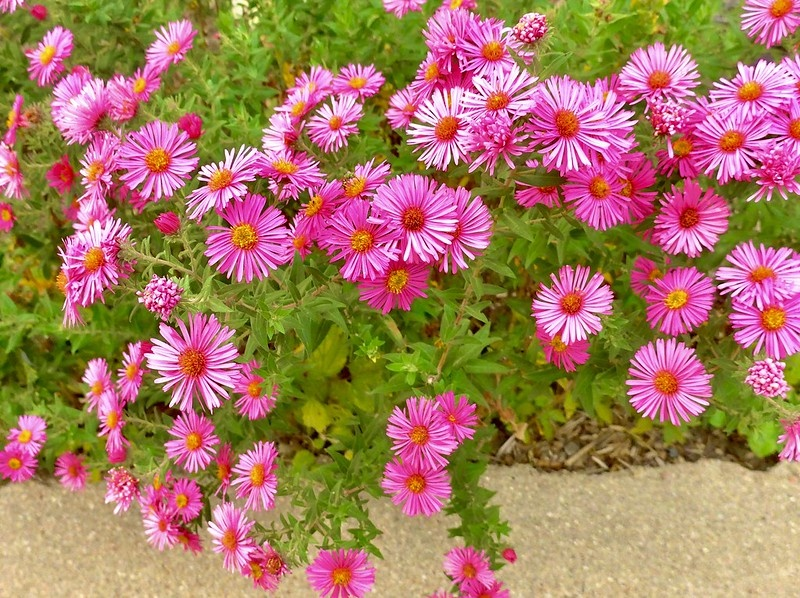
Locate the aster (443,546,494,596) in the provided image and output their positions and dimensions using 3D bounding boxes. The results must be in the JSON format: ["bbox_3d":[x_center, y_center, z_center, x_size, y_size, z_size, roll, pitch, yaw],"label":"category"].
[{"bbox_3d":[0.333,1.290,3.486,0.218,0.099,0.226,-17,78,0],"label":"aster"}]

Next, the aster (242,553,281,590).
[{"bbox_3d":[-0.635,1.270,3.405,0.143,0.212,0.167,3,77,5],"label":"aster"}]
